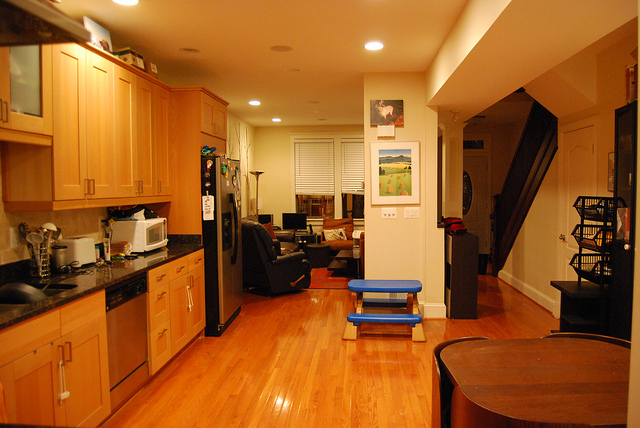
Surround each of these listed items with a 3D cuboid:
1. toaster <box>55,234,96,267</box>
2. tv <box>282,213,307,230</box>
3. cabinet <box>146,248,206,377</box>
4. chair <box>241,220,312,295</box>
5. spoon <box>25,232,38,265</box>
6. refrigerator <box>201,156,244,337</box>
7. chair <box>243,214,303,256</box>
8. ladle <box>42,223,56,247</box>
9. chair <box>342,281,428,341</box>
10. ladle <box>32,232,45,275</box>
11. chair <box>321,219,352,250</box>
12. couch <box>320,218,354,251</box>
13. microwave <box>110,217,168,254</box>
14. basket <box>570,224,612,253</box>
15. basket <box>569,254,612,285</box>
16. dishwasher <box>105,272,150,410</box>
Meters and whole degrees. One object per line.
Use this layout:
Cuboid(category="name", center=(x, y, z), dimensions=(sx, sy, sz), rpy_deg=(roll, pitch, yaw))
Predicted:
Cuboid(category="toaster", center=(-2.280, 0.323, 4.336), dimensions=(0.232, 0.324, 0.409), rpy_deg=(-4, 3, -15))
Cuboid(category="tv", center=(-0.533, 0.146, 9.597), dimensions=(0.542, 0.378, 0.300), rpy_deg=(1, 3, 5))
Cuboid(category="cabinet", center=(-1.527, 0.986, 4.855), dimensions=(0.551, 0.899, 1.182), rpy_deg=(0, 2, 6))
Cuboid(category="chair", center=(-0.843, 0.671, 7.416), dimensions=(0.996, 1.218, 1.288), rpy_deg=(-2, 0, -28))
Cuboid(category="spoon", center=(-2.490, 0.251, 4.023), dimensions=(0.076, 0.180, 0.030), rpy_deg=(-7, 12, -30))
Cuboid(category="refrigerator", center=(-1.188, 0.341, 5.729), dimensions=(0.386, 1.803, 0.682), rpy_deg=(3, 3, -4))
Cuboid(category="chair", center=(-0.758, 0.389, 8.579), dimensions=(0.815, 0.813, 0.764), rpy_deg=(0, 1, -4))
Cuboid(category="ladle", center=(-2.387, 0.175, 4.106), dimensions=(0.119, 0.197, 0.101), rpy_deg=(9, 15, 43))
Cuboid(category="chair", center=(0.794, 1.100, 5.875), dimensions=(0.974, 0.635, 1.068), rpy_deg=(0, 11, 5))
Cuboid(category="ladle", center=(-2.437, 0.328, 4.053), dimensions=(0.083, 0.335, 0.057), rpy_deg=(-11, 15, -43))
Cuboid(category="chair", center=(0.323, 0.404, 9.264), dimensions=(0.594, 0.473, 0.895), rpy_deg=(-1, 11, 0))
Cuboid(category="couch", center=(0.351, 0.374, 9.284), dimensions=(0.558, 0.594, 0.622), rpy_deg=(0, -5, 1))
Cuboid(category="microwave", center=(-1.974, 0.220, 5.047), dimensions=(0.362, 0.314, 0.484), rpy_deg=(0, 1, 10))
Cuboid(category="basket", center=(2.786, 0.244, 4.746), dimensions=(0.213, 0.147, 0.340), rpy_deg=(-1, 6, 12))
Cuboid(category="basket", center=(2.769, 0.557, 4.747), dimensions=(0.260, 0.166, 0.372), rpy_deg=(0, -3, 5))
Cuboid(category="dishwasher", center=(-1.728, 1.114, 4.227), dimensions=(0.114, 1.042, 0.611), rpy_deg=(1, 11, 10))
